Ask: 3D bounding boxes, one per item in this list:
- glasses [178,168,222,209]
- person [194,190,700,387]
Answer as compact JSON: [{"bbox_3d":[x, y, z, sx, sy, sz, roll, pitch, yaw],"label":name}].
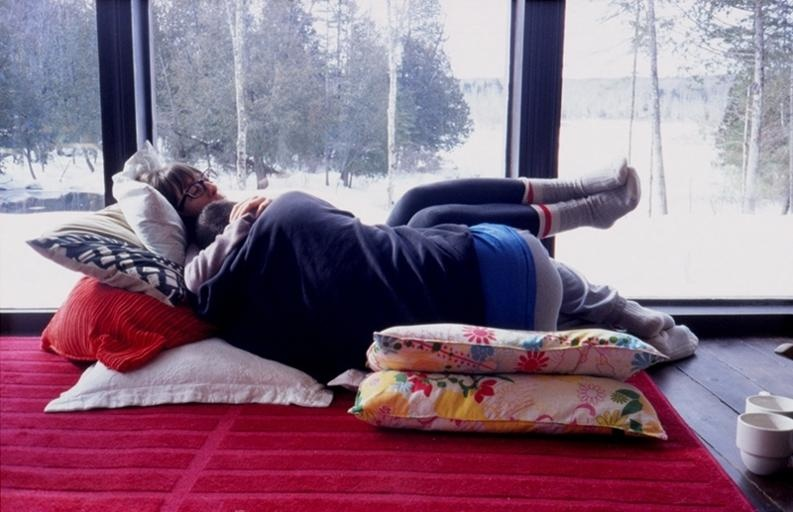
[{"bbox_3d":[-1.062,-0.330,3.561,0.198,0.064,0.203,-25,21,36],"label":"glasses"},{"bbox_3d":[0.245,0.167,3.395,2.265,0.868,0.792,10,34,-3],"label":"person"}]
